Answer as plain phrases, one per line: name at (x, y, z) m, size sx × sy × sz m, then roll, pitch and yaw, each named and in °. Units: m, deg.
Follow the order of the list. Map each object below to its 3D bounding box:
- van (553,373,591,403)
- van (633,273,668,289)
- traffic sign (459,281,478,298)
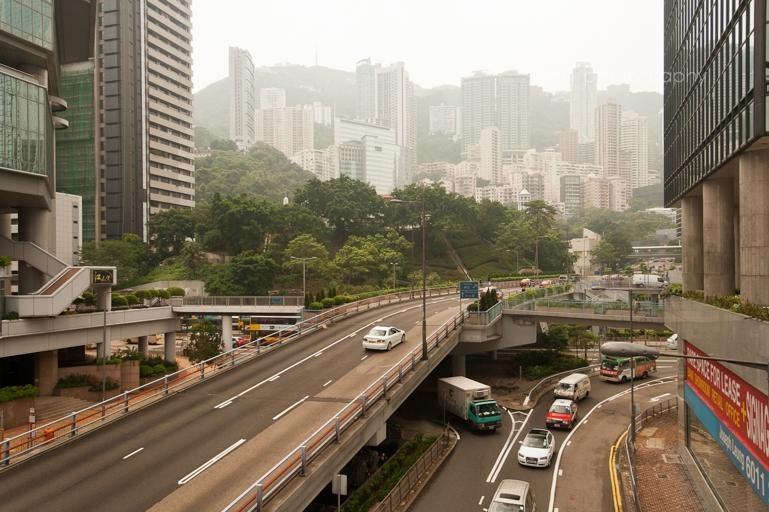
van at (19.545, 13.634, 75.146) m, size 2.186 × 1.943 × 3.726 m, roll -4°, pitch -9°, yaw 33°
van at (39.656, 3.885, 109.361) m, size 4.242 × 1.928 × 2.273 m, roll -2°, pitch 5°, yaw 16°
traffic sign at (8.894, 3.666, 76.243) m, size 1.756 × 1.607 × 0.247 m, roll -1°, pitch -9°, yaw 13°
